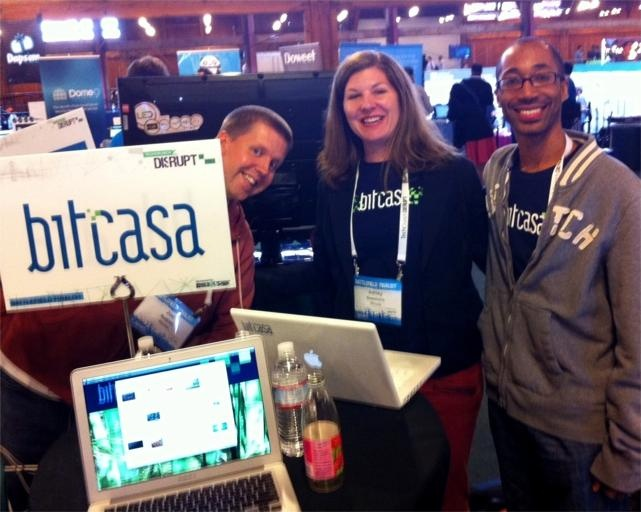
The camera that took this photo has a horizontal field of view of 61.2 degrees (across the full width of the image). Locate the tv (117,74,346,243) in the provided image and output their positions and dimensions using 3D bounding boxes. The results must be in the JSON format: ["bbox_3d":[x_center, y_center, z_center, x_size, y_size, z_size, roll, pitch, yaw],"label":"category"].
[{"bbox_3d":[-0.372,-0.457,2.299,0.732,0.869,0.062,2,8,0],"label":"tv"}]

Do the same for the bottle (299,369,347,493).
[{"bbox_3d":[0.005,0.504,1.611,0.117,0.296,0.201,-5,13,0],"label":"bottle"}]

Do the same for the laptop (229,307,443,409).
[{"bbox_3d":[0.089,0.294,1.810,0.449,0.300,0.415,3,16,40],"label":"laptop"}]
